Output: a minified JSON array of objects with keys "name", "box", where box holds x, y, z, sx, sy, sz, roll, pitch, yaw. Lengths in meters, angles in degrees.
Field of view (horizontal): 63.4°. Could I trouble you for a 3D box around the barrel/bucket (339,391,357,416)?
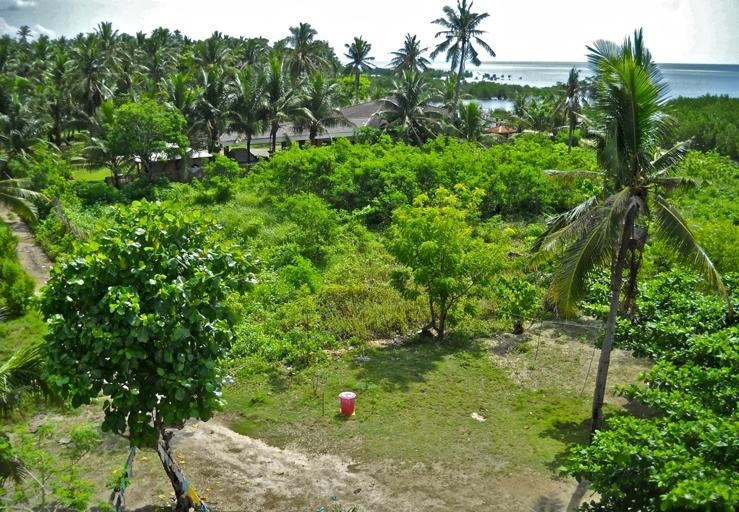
[{"name":"barrel/bucket","box":[-0.576,3.908,16.065,0.502,0.521,0.504,1,12,0]}]
